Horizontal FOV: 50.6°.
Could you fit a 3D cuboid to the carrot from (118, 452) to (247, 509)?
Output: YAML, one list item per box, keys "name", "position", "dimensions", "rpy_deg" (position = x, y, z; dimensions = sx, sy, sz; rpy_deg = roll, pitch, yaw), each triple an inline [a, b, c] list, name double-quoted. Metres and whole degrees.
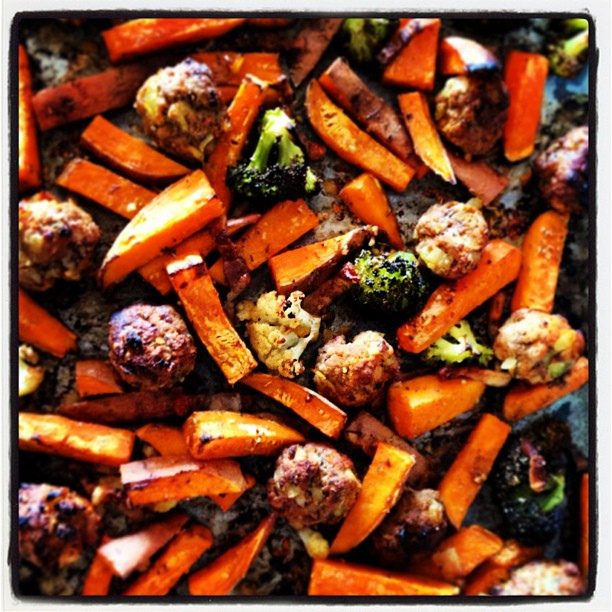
- name: "carrot"
  position: [-0.544, 0.750, 2.864]
  dimensions: [0.529, 0.136, 0.153]
  rpy_deg: [-2, 34, -12]

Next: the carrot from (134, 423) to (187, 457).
- name: "carrot"
  position: [-0.635, 0.595, 2.903]
  dimensions: [0.201, 0.072, 0.157]
  rpy_deg: [39, 78, 4]

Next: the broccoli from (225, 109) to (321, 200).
- name: "broccoli"
  position: [-0.128, -0.635, 2.978]
  dimensions: [0.372, 0.241, 0.423]
  rpy_deg: [36, 76, 10]

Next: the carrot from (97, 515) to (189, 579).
- name: "carrot"
  position: [-0.715, 1.039, 2.874]
  dimensions: [0.410, 0.092, 0.169]
  rpy_deg: [-32, 76, -10]

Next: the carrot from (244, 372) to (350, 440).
- name: "carrot"
  position: [-0.059, 0.436, 2.979]
  dimensions: [0.484, 0.169, 0.144]
  rpy_deg: [25, 105, 16]

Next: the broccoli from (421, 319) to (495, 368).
- name: "broccoli"
  position: [0.709, 0.201, 2.942]
  dimensions: [0.280, 0.080, 0.245]
  rpy_deg: [0, 75, 0]

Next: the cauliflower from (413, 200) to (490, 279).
- name: "cauliflower"
  position: [0.659, -0.311, 2.987]
  dimensions: [0.315, 0.160, 0.322]
  rpy_deg: [23, 74, 6]

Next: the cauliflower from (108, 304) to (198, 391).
- name: "cauliflower"
  position: [-0.685, 0.170, 2.867]
  dimensions: [0.358, 0.171, 0.370]
  rpy_deg: [-8, 73, -3]

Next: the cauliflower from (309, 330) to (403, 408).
- name: "cauliflower"
  position: [0.226, 0.260, 2.957]
  dimensions: [0.389, 0.131, 0.350]
  rpy_deg: [23, 99, -3]

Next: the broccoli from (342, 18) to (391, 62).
- name: "broccoli"
  position: [0.278, -1.225, 2.990]
  dimensions: [0.221, 0.152, 0.120]
  rpy_deg: [0, 74, 0]

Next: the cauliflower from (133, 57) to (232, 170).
- name: "cauliflower"
  position: [-0.540, -0.842, 2.857]
  dimensions: [0.357, 0.277, 0.361]
  rpy_deg: [-22, 75, -7]

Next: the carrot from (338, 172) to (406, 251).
- name: "carrot"
  position: [0.348, -0.435, 2.991]
  dimensions: [0.416, 0.108, 0.174]
  rpy_deg: [39, 102, -8]

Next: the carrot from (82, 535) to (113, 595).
- name: "carrot"
  position: [-0.919, 1.150, 2.885]
  dimensions: [0.069, 0.067, 0.229]
  rpy_deg: [10, 83, 23]

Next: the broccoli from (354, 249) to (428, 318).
- name: "broccoli"
  position: [0.393, -0.109, 2.995]
  dimensions: [0.342, 0.163, 0.298]
  rpy_deg: [1, 73, 0]

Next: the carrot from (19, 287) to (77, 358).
- name: "carrot"
  position: [-1.203, 0.085, 2.987]
  dimensions: [0.338, 0.129, 0.177]
  rpy_deg: [35, 90, -17]

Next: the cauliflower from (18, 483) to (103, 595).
- name: "cauliflower"
  position: [-1.042, 0.961, 2.903]
  dimensions: [0.567, 0.149, 0.517]
  rpy_deg: [-4, 86, 31]

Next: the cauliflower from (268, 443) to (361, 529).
- name: "cauliflower"
  position: [0.003, 0.785, 2.835]
  dimensions: [0.415, 0.149, 0.375]
  rpy_deg: [-18, 77, -39]

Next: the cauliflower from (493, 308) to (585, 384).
- name: "cauliflower"
  position: [1.063, 0.182, 2.955]
  dimensions: [0.350, 0.160, 0.313]
  rpy_deg: [32, 75, 9]
